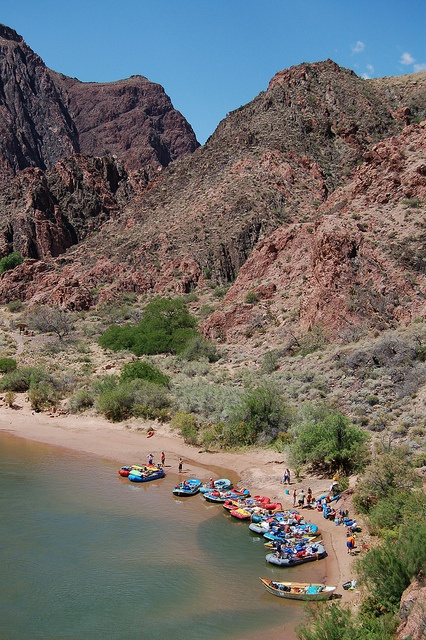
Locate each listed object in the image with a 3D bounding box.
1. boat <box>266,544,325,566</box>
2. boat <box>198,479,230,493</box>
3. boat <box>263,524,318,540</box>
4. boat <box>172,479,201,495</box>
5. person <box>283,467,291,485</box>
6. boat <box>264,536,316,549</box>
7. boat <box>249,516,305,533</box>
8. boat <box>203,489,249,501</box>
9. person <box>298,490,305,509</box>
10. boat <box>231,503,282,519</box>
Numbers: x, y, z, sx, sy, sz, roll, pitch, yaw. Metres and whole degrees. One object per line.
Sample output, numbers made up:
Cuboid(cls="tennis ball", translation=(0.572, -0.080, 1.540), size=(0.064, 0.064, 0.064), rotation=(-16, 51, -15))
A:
Cuboid(cls="boat", translation=(2.387, 6.785, 18.435), size=(1.263, 0.362, 0.708), rotation=(-5, 8, -17))
Cuboid(cls="boat", translation=(0.097, 6.404, 24.618), size=(0.850, 0.251, 0.493), rotation=(-11, 3, 0))
Cuboid(cls="boat", translation=(2.489, 6.605, 19.833), size=(1.148, 0.230, 0.695), rotation=(-6, 3, 12))
Cuboid(cls="boat", translation=(-0.975, 6.549, 24.813), size=(0.759, 0.373, 1.200), rotation=(2, 9, 42))
Cuboid(cls="person", translation=(2.729, 5.836, 24.069), size=(0.344, 0.633, 1.123), rotation=(-4, 7, 7))
Cuboid(cls="boat", translation=(2.340, 6.728, 19.296), size=(1.022, 0.144, 0.589), rotation=(-6, 2, -10))
Cuboid(cls="boat", translation=(1.787, 6.652, 20.578), size=(0.869, 0.245, 0.865), rotation=(-8, 3, -31))
Cuboid(cls="boat", translation=(0.501, 6.522, 23.730), size=(0.998, 0.230, 0.667), rotation=(-4, 2, 8))
Cuboid(cls="person", translation=(2.997, 6.100, 21.865), size=(0.235, 0.620, 0.747), rotation=(-4, 7, 7))
Cuboid(cls="boat", translation=(1.539, 6.588, 22.074), size=(1.199, 0.242, 0.713), rotation=(-10, 13, -38))
